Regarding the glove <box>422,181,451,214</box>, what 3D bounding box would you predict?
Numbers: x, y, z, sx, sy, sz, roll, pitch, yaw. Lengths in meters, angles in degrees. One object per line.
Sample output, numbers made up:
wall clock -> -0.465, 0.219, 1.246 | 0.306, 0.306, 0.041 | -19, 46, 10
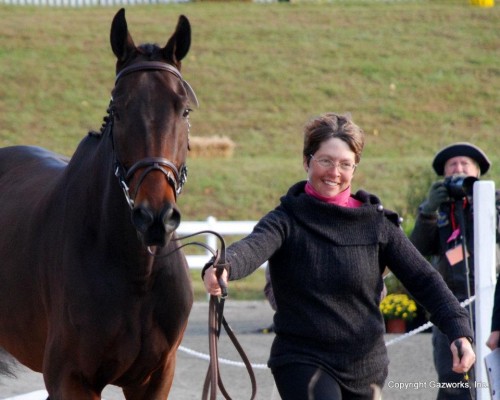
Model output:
glove -> 3.205, -0.058, 22.964 | 0.209, 0.589, 0.450 | 38, 6, -24

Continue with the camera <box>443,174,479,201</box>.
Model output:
camera -> 3.618, -0.238, 22.780 | 0.681, 0.397, 0.490 | -2, -3, 34

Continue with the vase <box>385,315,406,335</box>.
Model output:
vase -> 2.887, 2.521, 26.284 | 0.336, 0.245, 0.337 | -1, -3, 14

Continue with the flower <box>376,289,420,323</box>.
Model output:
flower -> 2.989, 1.941, 26.557 | 0.870, 0.601, 0.887 | -1, 8, 7
